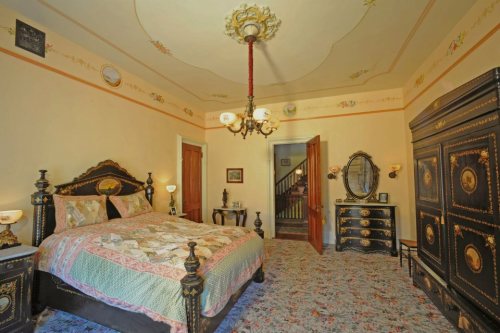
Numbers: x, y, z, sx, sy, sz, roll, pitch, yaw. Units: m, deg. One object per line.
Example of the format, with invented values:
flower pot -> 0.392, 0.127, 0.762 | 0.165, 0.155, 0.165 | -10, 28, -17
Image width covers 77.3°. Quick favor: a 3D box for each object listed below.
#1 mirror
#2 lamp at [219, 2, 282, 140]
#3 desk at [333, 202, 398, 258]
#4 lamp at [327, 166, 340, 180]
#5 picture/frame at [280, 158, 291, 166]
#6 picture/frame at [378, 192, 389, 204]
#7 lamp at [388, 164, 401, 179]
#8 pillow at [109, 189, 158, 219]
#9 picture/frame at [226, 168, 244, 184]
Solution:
mirror -> 2.479, 0.225, 6.875 | 1.190, 1.465, 0.076 | -1, -5, 13
lamp -> 0.011, -1.444, 5.029 | 0.923, 1.983, 0.770 | 2, 9, 4
desk -> 2.329, 1.415, 6.692 | 1.315, 1.143, 0.608 | 5, -23, -10
lamp -> 1.910, 0.145, 7.044 | 0.284, 0.316, 0.120 | 3, 10, 13
picture/frame -> 1.328, -0.158, 11.452 | 0.310, 0.238, 0.023 | -1, -9, 16
picture/frame -> 2.851, 0.661, 6.661 | 0.162, 0.188, 0.184 | 3, 9, 15
lamp -> 3.112, 0.106, 6.687 | 0.231, 0.321, 0.189 | 5, 10, 22
pillow -> -2.174, 0.686, 5.642 | 0.167, 0.389, 0.573 | -36, -12, 21
picture/frame -> -0.363, 0.233, 7.923 | 0.435, 0.339, 0.036 | -1, -6, 18
